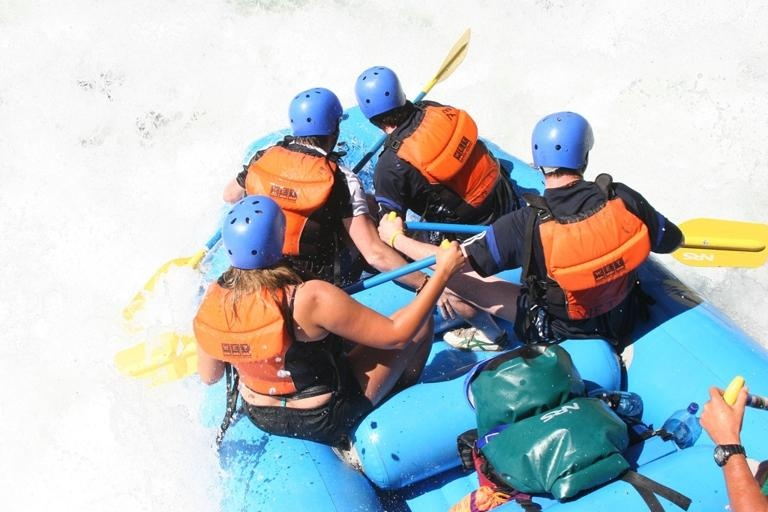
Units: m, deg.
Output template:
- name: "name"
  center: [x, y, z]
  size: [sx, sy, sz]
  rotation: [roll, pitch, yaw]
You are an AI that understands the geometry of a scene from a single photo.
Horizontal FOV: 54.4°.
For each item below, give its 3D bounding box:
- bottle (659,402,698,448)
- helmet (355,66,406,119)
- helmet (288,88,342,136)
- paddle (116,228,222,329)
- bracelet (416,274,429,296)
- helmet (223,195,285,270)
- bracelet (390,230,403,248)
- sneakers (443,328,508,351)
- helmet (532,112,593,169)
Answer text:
- name: "bottle"
  center: [2.099, 1.210, 5.299]
  size: [0.167, 0.141, 0.273]
  rotation: [21, 76, 55]
- name: "helmet"
  center: [-0.035, -1.306, 6.037]
  size: [0.295, 0.345, 0.438]
  rotation: [-28, 24, 13]
- name: "helmet"
  center: [-0.543, -1.096, 5.921]
  size: [0.398, 0.338, 0.311]
  rotation: [-15, 27, 25]
- name: "paddle"
  center: [-1.801, 0.084, 6.965]
  size: [0.221, 0.355, 1.474]
  rotation: [-21, 23, 32]
- name: "bracelet"
  center: [0.319, 0.221, 5.896]
  size: [0.140, 0.051, 0.110]
  rotation: [-49, 0, 25]
- name: "helmet"
  center: [-0.900, -0.131, 5.308]
  size: [0.347, 0.525, 0.386]
  rotation: [4, -22, -1]
- name: "bracelet"
  center: [0.083, -0.124, 5.791]
  size: [0.031, 0.106, 0.103]
  rotation: [18, 45, 4]
- name: "sneakers"
  center: [0.717, 0.655, 6.008]
  size: [0.451, 0.202, 0.192]
  rotation: [9, 4, 8]
- name: "helmet"
  center: [1.344, -0.895, 5.573]
  size: [0.327, 0.462, 0.469]
  rotation: [6, 29, 29]
